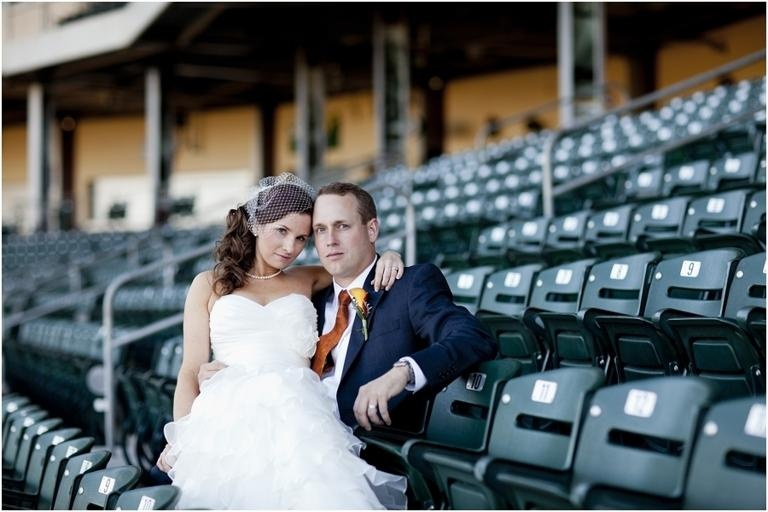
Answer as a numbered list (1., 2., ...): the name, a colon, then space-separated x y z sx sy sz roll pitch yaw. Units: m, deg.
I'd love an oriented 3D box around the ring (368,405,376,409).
1. ring: -0.072 0.879 4.251 0.048 0.028 0.017 -3 6 6
